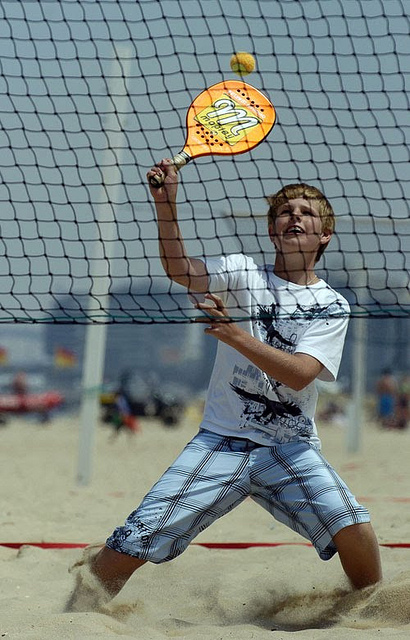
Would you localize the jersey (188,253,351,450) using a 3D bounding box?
[{"bbox_3d":[0.241,0.121,3.418,0.631,0.758,0.366,2,2,-2],"label":"jersey"}]

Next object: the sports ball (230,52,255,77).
[{"bbox_3d":[0.148,-1.037,3.609,0.111,0.089,0.097,1,20,0],"label":"sports ball"}]

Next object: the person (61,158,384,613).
[{"bbox_3d":[0.130,0.235,3.379,1.082,1.670,0.477,2,2,-4],"label":"person"}]
